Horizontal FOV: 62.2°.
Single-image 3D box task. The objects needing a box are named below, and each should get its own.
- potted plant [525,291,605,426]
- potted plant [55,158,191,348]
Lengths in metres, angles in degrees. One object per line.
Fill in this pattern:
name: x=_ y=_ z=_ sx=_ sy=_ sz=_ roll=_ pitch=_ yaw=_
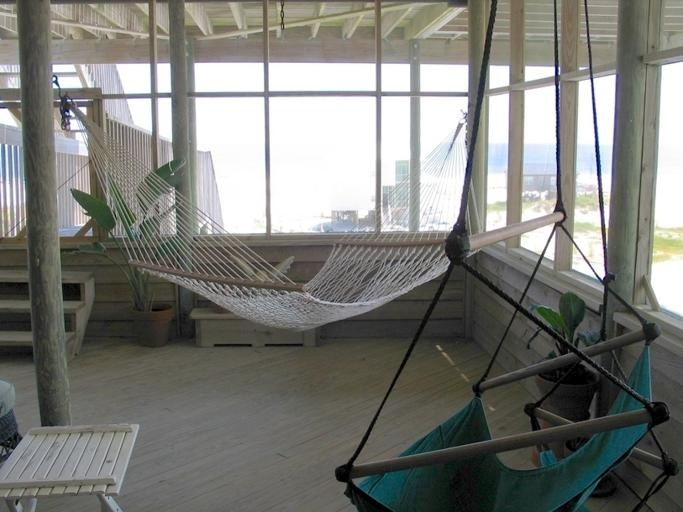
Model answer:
potted plant: x=1.342 y=0.676 z=3.414 sx=0.401 sy=0.866 sz=1.089 roll=4 pitch=15 yaw=21
potted plant: x=-1.992 y=-0.002 z=5.500 sx=0.929 sy=1.809 sz=0.755 roll=0 pitch=14 yaw=5
